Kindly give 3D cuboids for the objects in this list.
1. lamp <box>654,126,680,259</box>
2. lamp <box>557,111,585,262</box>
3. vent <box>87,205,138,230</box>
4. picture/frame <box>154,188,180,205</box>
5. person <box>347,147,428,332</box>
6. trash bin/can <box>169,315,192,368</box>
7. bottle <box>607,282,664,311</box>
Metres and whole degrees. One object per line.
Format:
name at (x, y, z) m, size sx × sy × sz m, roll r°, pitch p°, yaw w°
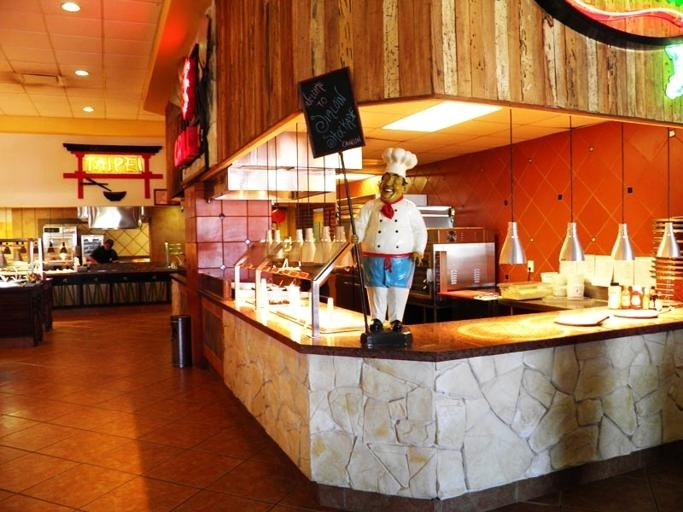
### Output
lamp at (3.058, -0.614, 5.140) m, size 0.223 × 1.260 × 0.778 m, roll 2°, pitch 6°, yaw 30°
lamp at (1.918, -0.520, 4.603) m, size 0.190 × 1.141 × 0.195 m, roll -18°, pitch 26°, yaw -10°
vent at (-5.261, -0.926, 12.883) m, size 1.137 × 0.503 × 0.288 m, roll -4°, pitch 6°, yaw -25°
picture/frame at (-3.395, -1.184, 10.782) m, size 0.433 × 0.267 × 0.232 m, roll 0°, pitch -2°, yaw -15°
person at (0.383, -0.135, 4.246) m, size 0.535 × 1.396 × 0.332 m, roll -1°, pitch 6°, yaw 7°
trash bin/can at (-2.181, 1.179, 7.566) m, size 0.258 × 0.709 × 0.259 m, roll -3°, pitch 6°, yaw -16°
bottle at (2.718, 0.400, 5.069) m, size 0.239 × 0.291 × 0.408 m, roll 8°, pitch -10°, yaw -39°
